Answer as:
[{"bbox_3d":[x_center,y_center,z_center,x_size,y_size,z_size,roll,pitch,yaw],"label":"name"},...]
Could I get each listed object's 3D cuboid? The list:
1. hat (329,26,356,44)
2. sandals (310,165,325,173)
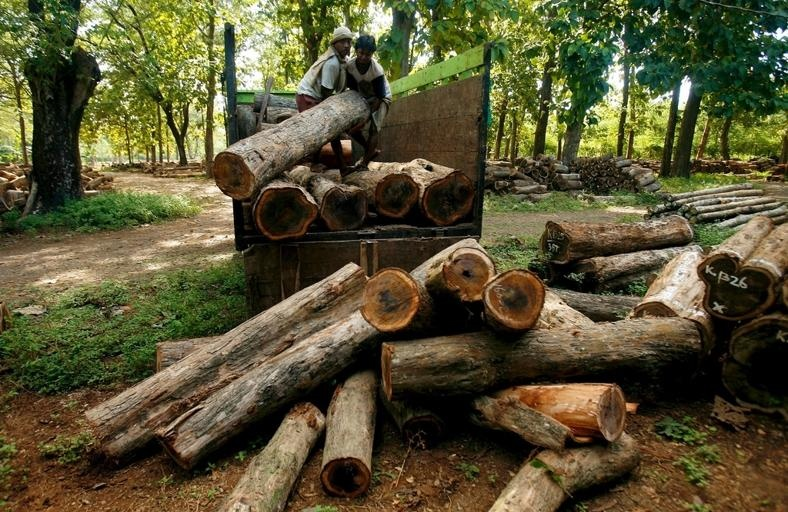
[{"bbox_3d":[-0.901,-3.817,8.243,0.370,0.385,0.506,-2,11,-8],"label":"hat"},{"bbox_3d":[-1.312,-1.531,8.365,0.185,0.053,0.180,8,18,26],"label":"sandals"}]
